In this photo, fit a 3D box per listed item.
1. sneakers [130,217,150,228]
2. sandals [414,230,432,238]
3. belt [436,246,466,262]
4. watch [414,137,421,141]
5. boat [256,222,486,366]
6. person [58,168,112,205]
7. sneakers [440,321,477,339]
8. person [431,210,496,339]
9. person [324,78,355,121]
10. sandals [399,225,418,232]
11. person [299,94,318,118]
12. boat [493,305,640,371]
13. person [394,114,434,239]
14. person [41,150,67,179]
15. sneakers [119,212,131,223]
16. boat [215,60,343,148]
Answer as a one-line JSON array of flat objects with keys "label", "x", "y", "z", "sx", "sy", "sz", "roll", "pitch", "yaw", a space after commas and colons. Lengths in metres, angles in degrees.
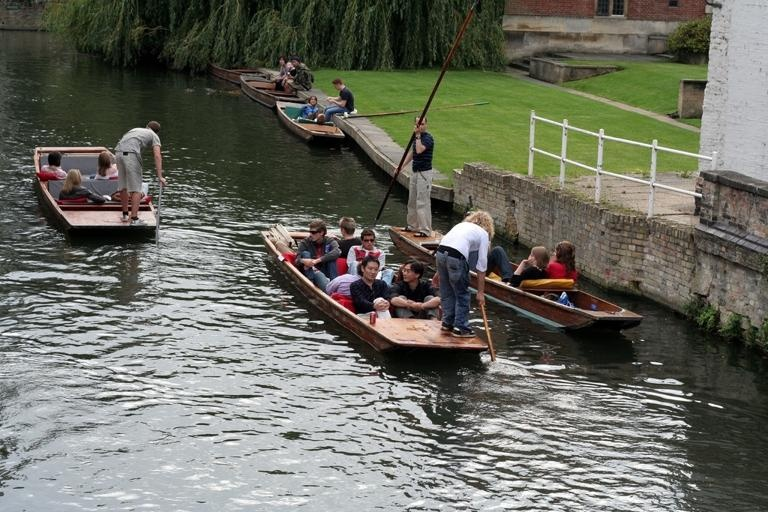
[{"label": "sneakers", "x": -4.998, "y": -0.657, "z": 26.225, "sx": 0.364, "sy": 0.242, "sz": 0.269, "roll": 1, "pitch": 15, "yaw": -9}, {"label": "sandals", "x": 0.803, "y": -0.450, "z": 26.503, "sx": 0.404, "sy": 0.136, "sz": 0.128, "roll": 5, "pitch": 2, "yaw": 4}, {"label": "belt", "x": 1.158, "y": -0.050, "z": 21.692, "sx": 0.319, "sy": 0.067, "sz": 0.302, "roll": 14, "pitch": 4, "yaw": -13}, {"label": "watch", "x": 0.704, "y": -2.389, "z": 26.043, "sx": 0.111, "sy": 0.079, "sz": 0.102, "roll": 2, "pitch": 14, "yaw": -5}, {"label": "boat", "x": -0.915, "y": 0.634, "z": 23.430, "sx": 1.722, "sy": 0.554, "sz": 5.488, "roll": -6, "pitch": 24, "yaw": -34}, {"label": "person", "x": -6.385, "y": -1.465, "z": 27.098, "sx": 0.754, "sy": 0.486, "sz": 0.932, "roll": 6, "pitch": 6, "yaw": 12}, {"label": "sneakers", "x": 1.267, "y": 1.319, "z": 21.951, "sx": 0.632, "sy": 0.234, "sz": 0.215, "roll": 0, "pitch": 4, "yaw": -8}, {"label": "person", "x": 1.398, "y": 0.306, "z": 21.882, "sx": 0.919, "sy": 2.053, "sz": 0.698, "roll": -1, "pitch": 16, "yaw": -17}, {"label": "person", "x": -1.227, "y": -4.404, "z": 36.118, "sx": 0.868, "sy": 1.319, "sz": 2.023, "roll": 3, "pitch": 14, "yaw": -4}, {"label": "sandals", "x": 0.535, "y": -0.565, "z": 26.704, "sx": 0.353, "sy": 0.085, "sz": 0.137, "roll": 6, "pitch": 2, "yaw": 24}, {"label": "person", "x": -2.137, "y": -4.252, "z": 36.600, "sx": 0.562, "sy": 0.566, "sz": 1.108, "roll": 3, "pitch": 14, "yaw": -3}, {"label": "boat", "x": 3.251, "y": 1.364, "z": 22.545, "sx": 2.764, "sy": 0.780, "sz": 2.139, "roll": 6, "pitch": 14, "yaw": 10}, {"label": "person", "x": 0.805, "y": -1.664, "z": 26.455, "sx": 0.522, "sy": 2.439, "sz": 0.711, "roll": 4, "pitch": 16, "yaw": 0}, {"label": "person", "x": -7.314, "y": -2.009, "z": 28.395, "sx": 0.772, "sy": 0.573, "sz": 0.392, "roll": 9, "pitch": 19, "yaw": 3}, {"label": "sneakers", "x": -5.293, "y": -0.774, "z": 26.196, "sx": 0.132, "sy": 0.125, "sz": 0.311, "roll": 0, "pitch": 7, "yaw": -3}, {"label": "boat", "x": -3.067, "y": -4.649, "z": 38.907, "sx": 1.734, "sy": 0.750, "sz": 9.106, "roll": -3, "pitch": 18, "yaw": -20}]
